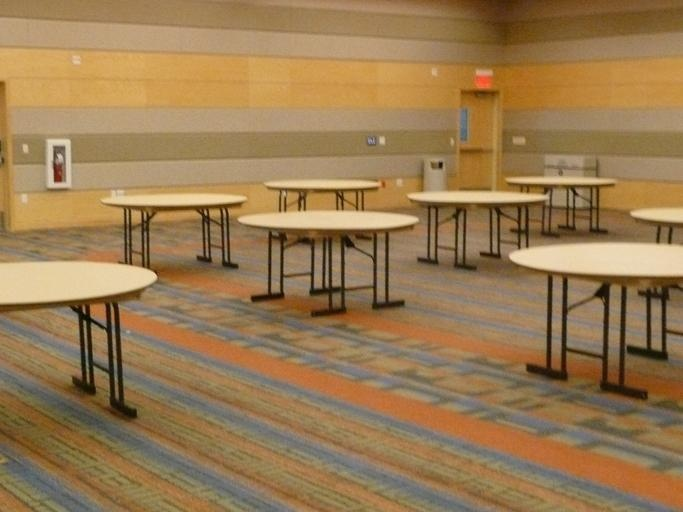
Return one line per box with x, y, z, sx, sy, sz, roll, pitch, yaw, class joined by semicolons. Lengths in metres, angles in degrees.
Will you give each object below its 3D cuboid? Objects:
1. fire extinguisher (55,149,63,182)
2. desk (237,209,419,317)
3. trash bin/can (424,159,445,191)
-4.944;-1.559;10.291;0.199;0.541;0.061;-6;12;-26;fire extinguisher
-0.036;-0.103;5.761;1.490;0.674;1.512;-3;6;-33;desk
2.188;-1.885;13.539;0.690;0.736;0.392;-6;12;-29;trash bin/can
